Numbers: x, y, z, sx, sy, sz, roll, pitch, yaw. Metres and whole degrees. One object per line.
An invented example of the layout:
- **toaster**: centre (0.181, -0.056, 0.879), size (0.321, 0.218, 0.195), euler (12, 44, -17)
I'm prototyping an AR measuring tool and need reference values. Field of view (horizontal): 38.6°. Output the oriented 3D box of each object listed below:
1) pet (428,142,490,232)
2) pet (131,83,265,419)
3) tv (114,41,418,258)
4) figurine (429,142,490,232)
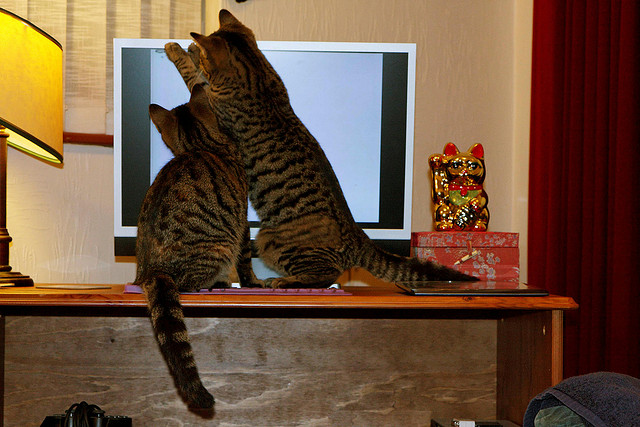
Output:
- **pet**: centre (0.464, -0.094, 3.011), size (0.206, 0.280, 0.159), euler (1, 10, 7)
- **pet**: centre (-0.391, 0.076, 2.859), size (0.403, 0.990, 0.349), euler (-2, 4, 8)
- **tv**: centre (-0.212, -0.202, 2.992), size (0.706, 0.515, 0.017), euler (0, -4, -3)
- **figurine**: centre (0.461, -0.083, 3.012), size (0.251, 0.386, 0.258), euler (-1, -5, 4)
